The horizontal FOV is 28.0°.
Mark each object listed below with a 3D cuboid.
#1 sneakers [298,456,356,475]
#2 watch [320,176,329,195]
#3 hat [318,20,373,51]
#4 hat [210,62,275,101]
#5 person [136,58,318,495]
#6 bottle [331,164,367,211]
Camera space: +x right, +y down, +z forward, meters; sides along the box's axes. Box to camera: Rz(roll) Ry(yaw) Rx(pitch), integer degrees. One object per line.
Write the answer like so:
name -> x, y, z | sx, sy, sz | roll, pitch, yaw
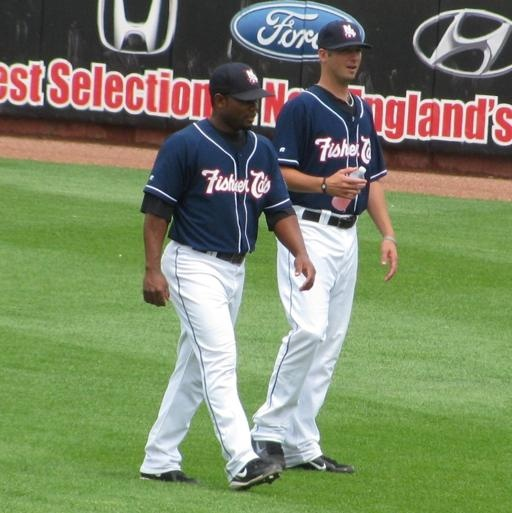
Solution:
sneakers -> 0.330, 0.971, 4.769 | 0.226, 0.090, 0.085 | -1, 3, 11
watch -> 0.322, -0.330, 4.830 | 0.037, 0.065, 0.060 | 5, 12, 33
hat -> 0.419, -1.090, 5.028 | 0.153, 0.132, 0.214 | -2, 2, -35
hat -> -0.070, -0.778, 4.558 | 0.222, 0.138, 0.162 | 3, 14, 21
person -> -0.129, 0.034, 4.599 | 0.627, 1.757, 0.682 | 9, 13, 26
bottle -> 0.477, -0.325, 4.942 | 0.151, 0.217, 0.296 | 11, 15, 33
